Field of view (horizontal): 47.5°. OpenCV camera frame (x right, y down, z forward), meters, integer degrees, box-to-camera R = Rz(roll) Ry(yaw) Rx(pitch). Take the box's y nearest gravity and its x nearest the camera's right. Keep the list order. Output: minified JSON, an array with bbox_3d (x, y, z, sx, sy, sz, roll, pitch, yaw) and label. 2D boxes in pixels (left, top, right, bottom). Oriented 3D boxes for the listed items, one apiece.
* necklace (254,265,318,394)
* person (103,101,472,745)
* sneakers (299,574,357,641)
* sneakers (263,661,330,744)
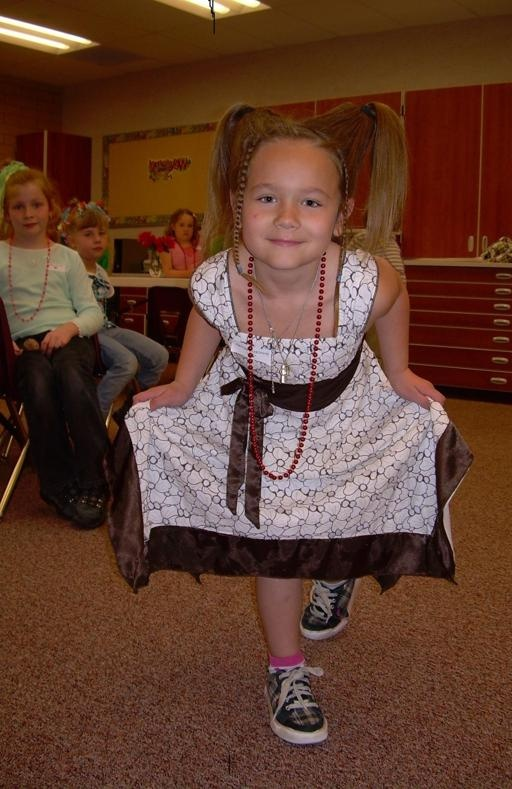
[{"bbox_3d":[0.046,-0.116,0.911,0.121,0.204,0.043,1,1,-1],"label":"necklace"},{"bbox_3d":[0.041,0.013,0.982,0.534,1.033,0.371,0,1,-23],"label":"person"},{"bbox_3d":[0.171,0.460,1.308,0.072,0.083,0.187,7,48,24],"label":"sneakers"},{"bbox_3d":[0.066,0.490,0.938,0.086,0.084,0.123,1,1,-6],"label":"sneakers"}]
